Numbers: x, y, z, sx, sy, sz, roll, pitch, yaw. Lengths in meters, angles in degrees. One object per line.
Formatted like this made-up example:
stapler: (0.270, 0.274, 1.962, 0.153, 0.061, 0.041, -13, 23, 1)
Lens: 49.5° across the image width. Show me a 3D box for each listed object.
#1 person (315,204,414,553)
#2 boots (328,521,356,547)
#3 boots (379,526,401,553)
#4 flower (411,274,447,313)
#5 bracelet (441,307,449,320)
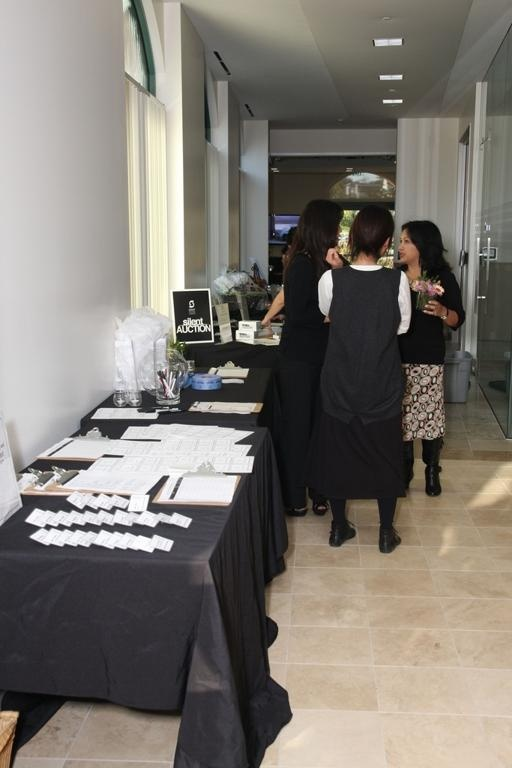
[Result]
person: (0.463, 0.022, 2.496, 0.409, 1.573, 0.426, 3, 5, 14)
boots: (0.440, 0.719, 2.767, 0.067, 0.124, 0.181, 4, 20, 26)
boots: (0.630, 0.739, 2.634, 0.063, 0.097, 0.157, -1, 12, 13)
flower: (0.857, -0.459, 2.806, 0.172, 0.175, 0.164, -4, 12, -39)
bracelet: (0.997, -0.371, 2.958, 0.045, 0.063, 0.035, -11, -12, 32)
